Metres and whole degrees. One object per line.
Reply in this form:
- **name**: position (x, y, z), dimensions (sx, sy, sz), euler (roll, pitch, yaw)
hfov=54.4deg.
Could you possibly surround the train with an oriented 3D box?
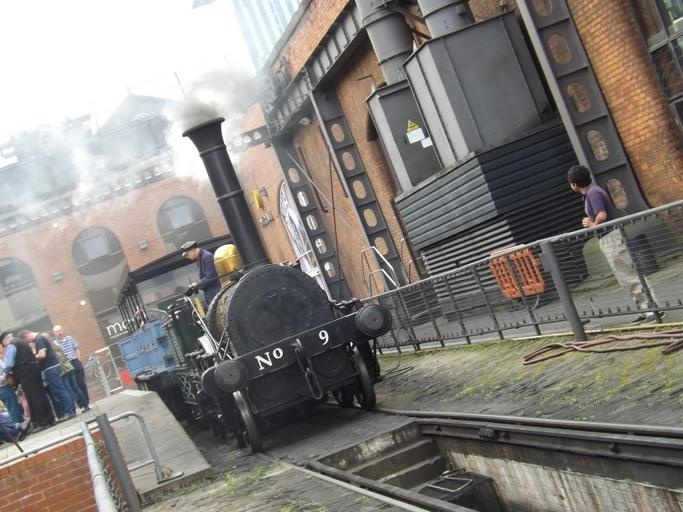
- **train**: position (-1.921, 1.172, 12.379), dimensions (2.438, 4.088, 7.257), euler (-20, 1, -9)

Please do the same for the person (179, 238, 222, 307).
- **person**: position (-2.847, 0.330, 13.362), dimensions (0.606, 1.568, 0.559), euler (-5, -42, -8)

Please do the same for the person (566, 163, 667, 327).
- **person**: position (3.363, -0.193, 8.188), dimensions (0.489, 2.121, 0.948), euler (-21, -6, 20)

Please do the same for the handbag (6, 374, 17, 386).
- **handbag**: position (-6.470, 2.419, 12.968), dimensions (0.172, 0.244, 0.096), euler (-18, 4, 41)

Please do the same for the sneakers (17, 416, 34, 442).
- **sneakers**: position (-5.872, 3.205, 12.319), dimensions (0.449, 0.195, 0.144), euler (-46, 7, 21)
